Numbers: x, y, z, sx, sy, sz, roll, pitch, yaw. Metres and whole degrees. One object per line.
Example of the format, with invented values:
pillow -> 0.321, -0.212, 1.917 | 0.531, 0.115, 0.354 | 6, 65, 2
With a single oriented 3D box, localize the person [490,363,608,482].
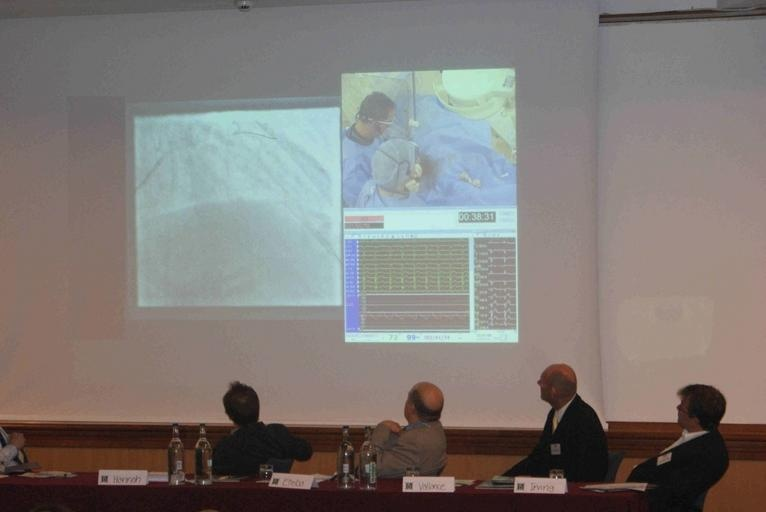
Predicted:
person -> 1.214, 1.264, 8.208 | 0.801, 1.009, 0.666 | 1, -9, 8

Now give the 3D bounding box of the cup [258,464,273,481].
cup -> -0.763, 1.426, 7.336 | 0.093, 0.108, 0.096 | 1, -4, 0
